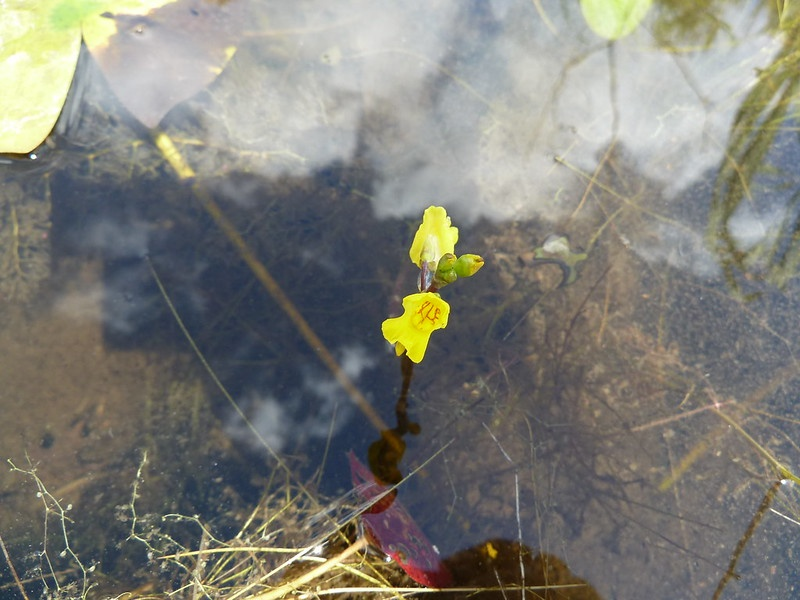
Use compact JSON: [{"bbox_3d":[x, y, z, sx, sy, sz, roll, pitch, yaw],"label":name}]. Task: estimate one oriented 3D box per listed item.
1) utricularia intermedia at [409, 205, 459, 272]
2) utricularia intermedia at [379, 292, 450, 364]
[{"bbox_3d":[0.309,-0.565,8.030,0.337,0.593,0.195,10,2,4],"label":"utricularia intermedia"},{"bbox_3d":[0.186,0.092,7.756,0.441,0.655,0.258,9,76,39],"label":"utricularia intermedia"}]
